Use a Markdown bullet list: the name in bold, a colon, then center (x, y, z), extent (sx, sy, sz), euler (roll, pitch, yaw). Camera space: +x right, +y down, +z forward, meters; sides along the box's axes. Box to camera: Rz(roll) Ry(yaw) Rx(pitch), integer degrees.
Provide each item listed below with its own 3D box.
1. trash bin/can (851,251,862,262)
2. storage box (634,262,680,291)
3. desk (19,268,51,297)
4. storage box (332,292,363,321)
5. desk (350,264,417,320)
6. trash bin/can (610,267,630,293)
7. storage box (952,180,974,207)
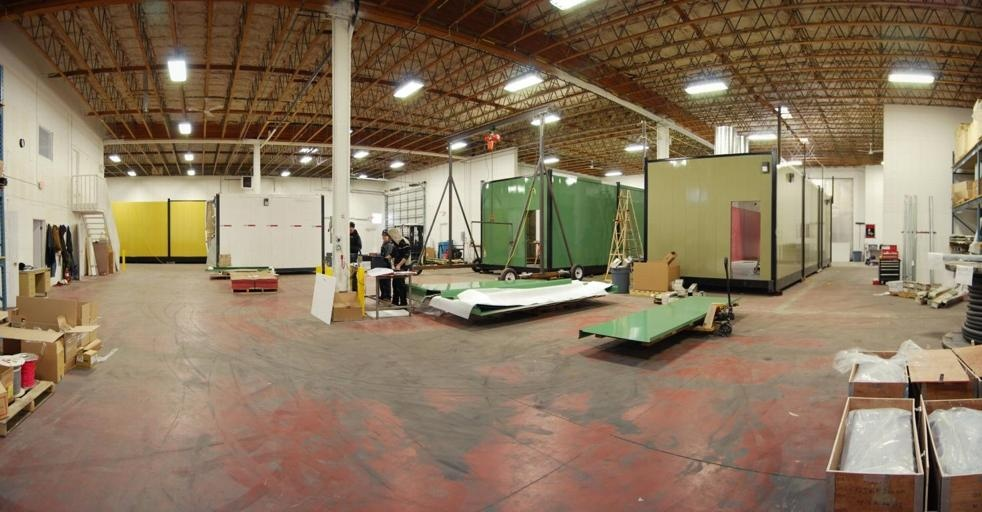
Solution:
- **trash bin/can**: center (24.614, 0.009, 34.107), extent (0.759, 0.578, 0.707), euler (2, 0, -28)
- **storage box**: center (5.480, 0.670, 16.865), extent (1.177, 0.733, 1.180), euler (0, -3, 33)
- **desk**: center (-14.776, 0.848, 16.283), extent (0.548, 0.618, 1.032), euler (0, -1, -13)
- **storage box**: center (-3.981, 1.399, 13.929), extent (0.834, 0.521, 0.801), euler (0, 3, -21)
- **desk**: center (-3.149, 0.975, 14.552), extent (1.486, 1.415, 1.795), euler (-2, 3, -16)
- **trash bin/can**: center (4.380, 0.801, 17.124), extent (0.654, 0.914, 0.436), euler (-1, 3, 3)
- **storage box**: center (14.679, -1.963, 15.751), extent (0.219, 0.711, 1.348), euler (0, 3, 26)
